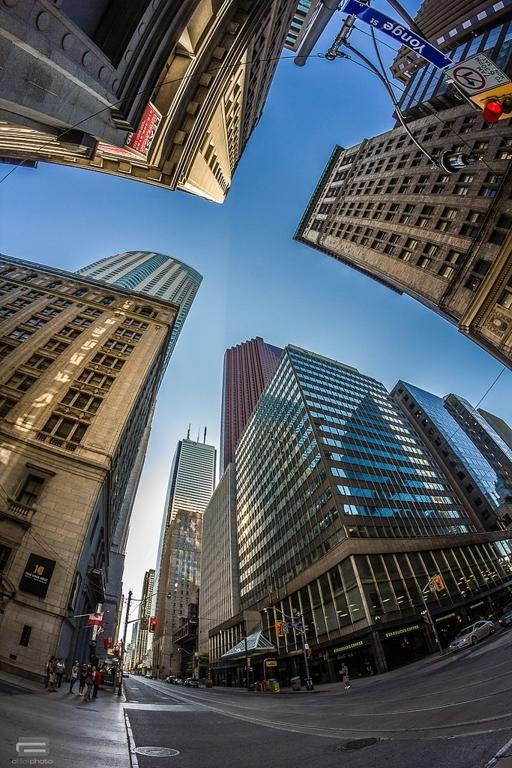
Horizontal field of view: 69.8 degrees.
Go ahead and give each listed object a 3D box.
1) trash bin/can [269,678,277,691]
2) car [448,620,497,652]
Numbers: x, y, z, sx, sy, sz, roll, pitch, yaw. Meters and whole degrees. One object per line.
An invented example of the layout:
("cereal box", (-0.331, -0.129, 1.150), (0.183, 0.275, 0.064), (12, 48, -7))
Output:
("trash bin/can", (1.822, 32.577, 39.890), (0.510, 1.165, 1.434), (2, -48, -11))
("car", (16.912, 19.609, 28.822), (3.422, 1.926, 2.170), (13, -51, -19))
